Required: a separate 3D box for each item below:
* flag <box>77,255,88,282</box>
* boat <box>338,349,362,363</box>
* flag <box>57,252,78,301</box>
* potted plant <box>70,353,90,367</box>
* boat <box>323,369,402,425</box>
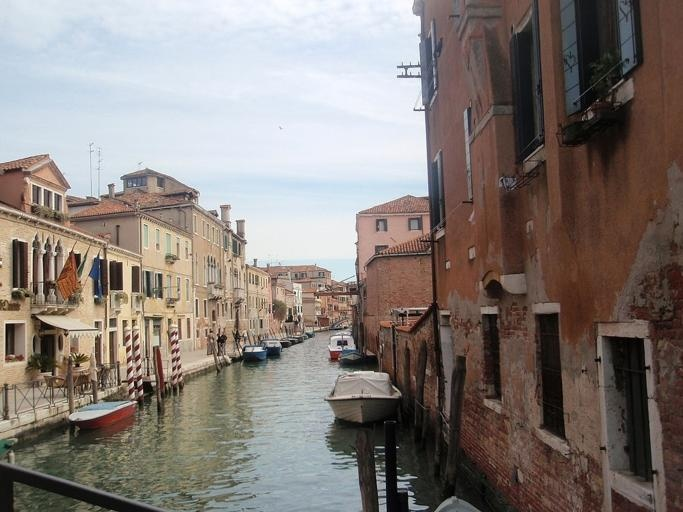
[{"bbox_3d":[-10.782,0.535,29.982,0.083,0.491,1.117,19,-50,-8],"label":"flag"},{"bbox_3d":[0.590,6.307,45.726,1.345,0.849,0.712,-5,-4,41],"label":"boat"},{"bbox_3d":[-10.056,0.703,26.659,0.895,2.273,0.112,5,-42,-25],"label":"flag"},{"bbox_3d":[-9.969,3.844,27.360,0.747,0.540,0.786,-2,-13,11],"label":"potted plant"},{"bbox_3d":[0.749,4.402,22.568,2.233,1.431,1.663,-3,-3,13],"label":"boat"}]
